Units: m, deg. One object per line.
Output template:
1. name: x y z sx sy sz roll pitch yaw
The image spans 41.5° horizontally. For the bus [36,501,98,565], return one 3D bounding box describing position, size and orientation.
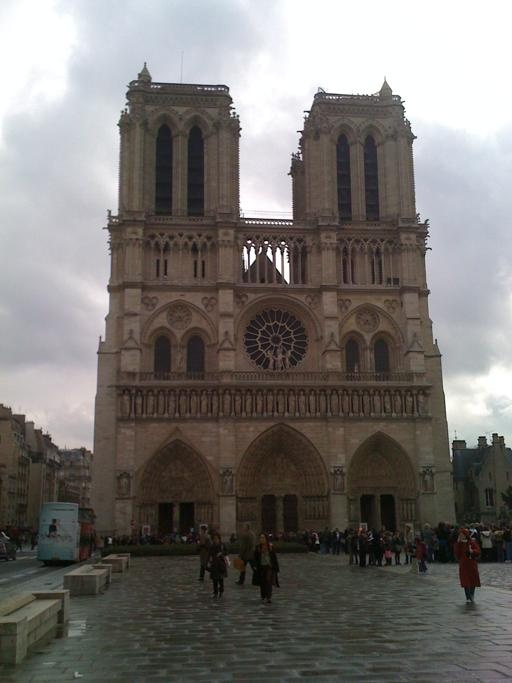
1. bus: -9.379 9.374 32.789 2.061 2.626 5.431 -2 -17 4
